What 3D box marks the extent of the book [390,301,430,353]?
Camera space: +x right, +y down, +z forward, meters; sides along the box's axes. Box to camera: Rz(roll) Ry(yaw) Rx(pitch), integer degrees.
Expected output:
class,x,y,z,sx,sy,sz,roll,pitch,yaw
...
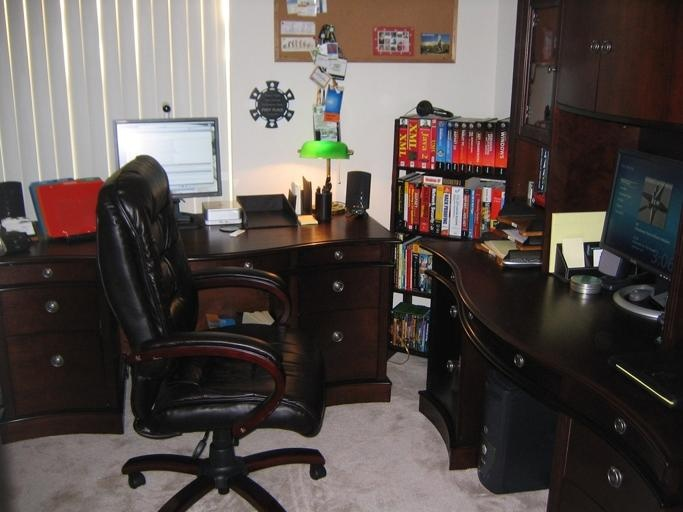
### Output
class,x,y,z,sx,sy,sz,roll,pitch,yaw
book,0.421,0.412,3.646,0.300,0.325,0.236,7,13,21

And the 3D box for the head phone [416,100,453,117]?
class,x,y,z,sx,sy,sz,roll,pitch,yaw
head phone,0.536,-0.833,3.320,0.204,0.094,0.104,12,-12,-28

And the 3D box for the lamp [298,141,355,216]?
class,x,y,z,sx,sy,sz,roll,pitch,yaw
lamp,-0.092,-0.409,3.244,0.294,0.470,0.291,5,11,26

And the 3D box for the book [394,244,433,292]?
class,x,y,z,sx,sy,sz,roll,pitch,yaw
book,0.437,0.049,3.561,0.293,0.328,0.241,5,19,9

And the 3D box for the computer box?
class,x,y,z,sx,sy,sz,roll,pitch,yaw
computer box,0.791,0.776,2.612,0.293,0.539,0.249,-2,19,-5

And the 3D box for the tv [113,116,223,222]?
class,x,y,z,sx,sy,sz,roll,pitch,yaw
tv,-0.840,-0.436,2.775,0.534,0.581,0.182,-3,16,-10
